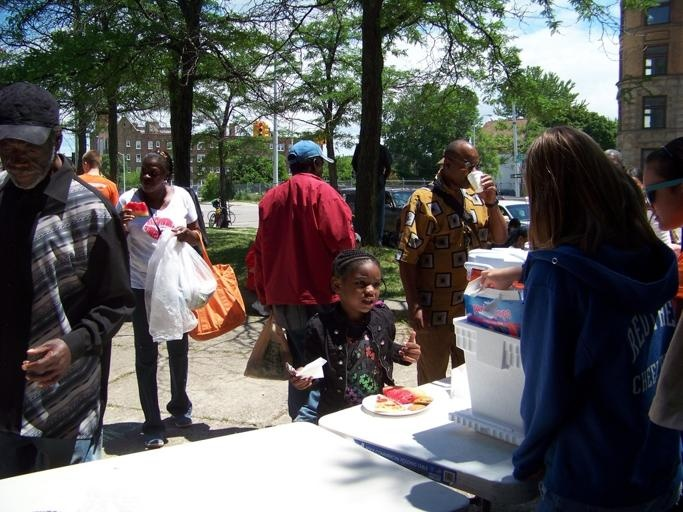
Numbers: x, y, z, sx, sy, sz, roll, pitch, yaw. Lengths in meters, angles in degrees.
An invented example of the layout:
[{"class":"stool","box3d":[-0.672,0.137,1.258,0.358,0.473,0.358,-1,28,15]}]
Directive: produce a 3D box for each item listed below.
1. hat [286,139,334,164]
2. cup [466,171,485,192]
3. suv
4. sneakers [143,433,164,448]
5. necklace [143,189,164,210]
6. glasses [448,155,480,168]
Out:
[{"class":"hat","box3d":[-0.275,-0.859,4.639,0.330,0.226,0.466,-1,0,-6]},{"class":"cup","box3d":[0.946,-0.511,4.100,0.131,0.128,0.136,0,-25,0]},{"class":"suv","box3d":[1.157,-1.328,19.254,2.723,1.408,1.559,-1,2,25]},{"class":"sneakers","box3d":[-1.594,1.579,4.847,0.112,0.122,0.292,4,-13,-20]},{"class":"necklace","box3d":[-1.693,-0.490,5.097,0.134,0.077,0.192,17,-4,-9]},{"class":"glasses","box3d":[0.910,-0.680,4.231,0.270,0.091,0.104,-1,0,-12]}]
